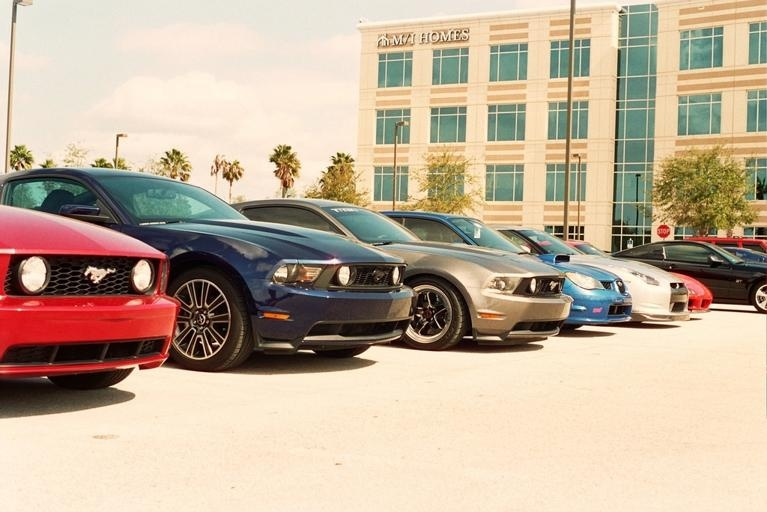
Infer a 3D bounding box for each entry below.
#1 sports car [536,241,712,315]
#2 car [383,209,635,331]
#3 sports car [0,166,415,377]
[{"bbox_3d":[5.168,0.397,14.443,4.474,0.964,1.866,5,1,31],"label":"sports car"},{"bbox_3d":[2.486,0.169,10.238,4.789,1.033,1.866,3,-1,19],"label":"car"},{"bbox_3d":[-2.592,0.079,6.744,5.249,1.254,2.026,1,-3,21],"label":"sports car"}]
